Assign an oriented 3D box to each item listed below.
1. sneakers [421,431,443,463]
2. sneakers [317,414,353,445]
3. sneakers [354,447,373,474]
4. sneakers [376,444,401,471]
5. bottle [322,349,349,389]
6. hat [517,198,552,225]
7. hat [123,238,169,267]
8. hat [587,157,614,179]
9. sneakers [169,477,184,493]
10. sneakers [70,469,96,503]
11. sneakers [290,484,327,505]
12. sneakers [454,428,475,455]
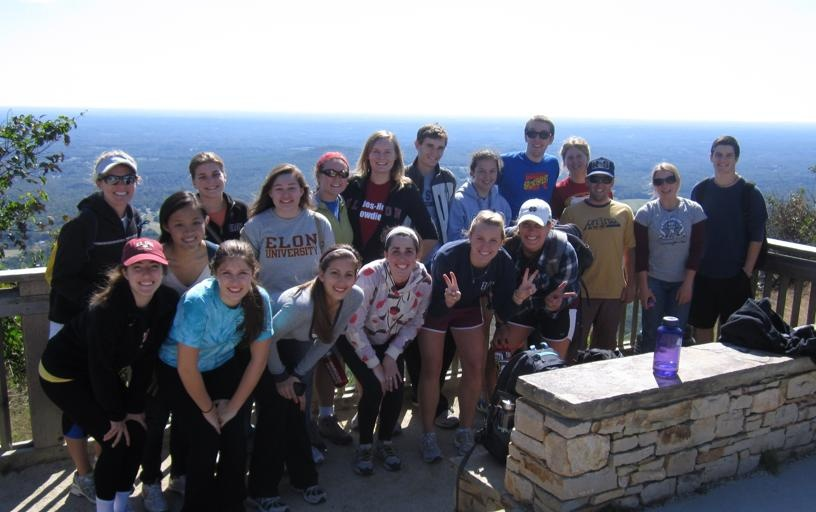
[{"bbox_3d":[0.222,1.914,5.974,0.145,0.143,0.320,-3,13,-18],"label":"sneakers"},{"bbox_3d":[-0.769,1.772,6.203,0.411,0.184,0.191,24,25,32],"label":"sneakers"},{"bbox_3d":[-0.430,1.974,5.783,0.185,0.249,0.201,-4,12,-5],"label":"sneakers"},{"bbox_3d":[-0.196,1.965,5.859,0.217,0.228,0.222,-6,12,-12],"label":"sneakers"},{"bbox_3d":[-0.735,1.154,5.930,0.155,0.425,0.326,-10,13,-27],"label":"bottle"},{"bbox_3d":[1.299,-0.432,6.151,0.291,0.254,0.248,3,13,28],"label":"hat"},{"bbox_3d":[-2.234,-0.013,5.044,0.294,0.239,0.310,7,15,40],"label":"hat"},{"bbox_3d":[2.284,-1.014,7.082,0.218,0.171,0.318,2,-13,19],"label":"hat"},{"bbox_3d":[-2.114,2.094,5.478,0.155,0.155,0.058,1,13,20],"label":"sneakers"},{"bbox_3d":[-2.956,2.096,5.486,0.384,0.171,0.135,14,13,35],"label":"sneakers"},{"bbox_3d":[-0.884,2.177,5.458,0.270,0.112,0.132,10,6,40],"label":"sneakers"},{"bbox_3d":[0.576,1.867,6.038,0.140,0.134,0.297,2,5,-17],"label":"sneakers"}]
